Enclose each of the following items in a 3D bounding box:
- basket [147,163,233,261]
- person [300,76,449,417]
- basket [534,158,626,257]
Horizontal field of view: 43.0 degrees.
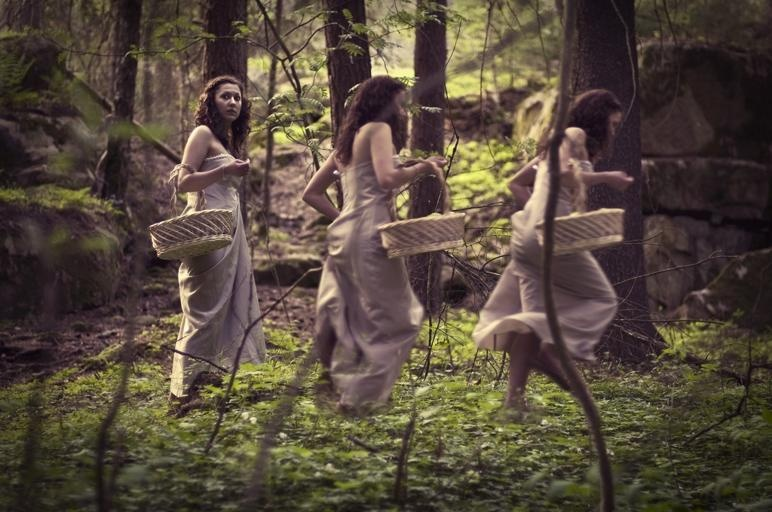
[{"bbox_3d":[-1.923,-0.306,9.738,0.737,0.662,0.499,-17,-19,1],"label":"basket"},{"bbox_3d":[-0.125,-0.114,9.455,0.993,3.254,0.403,3,-6,2],"label":"person"},{"bbox_3d":[1.850,-0.316,9.190,0.713,0.559,0.468,-14,-12,-8],"label":"basket"}]
